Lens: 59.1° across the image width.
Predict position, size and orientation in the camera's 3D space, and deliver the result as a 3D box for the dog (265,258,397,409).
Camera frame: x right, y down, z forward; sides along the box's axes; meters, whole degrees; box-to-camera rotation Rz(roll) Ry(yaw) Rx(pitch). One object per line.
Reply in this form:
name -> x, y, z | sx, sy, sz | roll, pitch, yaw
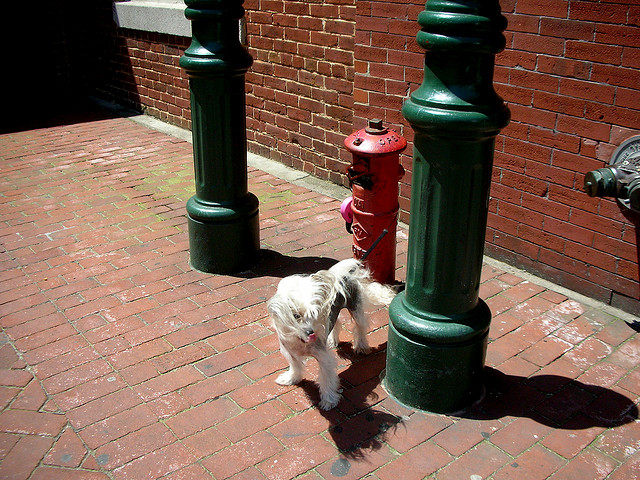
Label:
dog -> 0.048, 0.597, 4.032 | 0.508, 0.857, 0.873 | 14, 34, 23
